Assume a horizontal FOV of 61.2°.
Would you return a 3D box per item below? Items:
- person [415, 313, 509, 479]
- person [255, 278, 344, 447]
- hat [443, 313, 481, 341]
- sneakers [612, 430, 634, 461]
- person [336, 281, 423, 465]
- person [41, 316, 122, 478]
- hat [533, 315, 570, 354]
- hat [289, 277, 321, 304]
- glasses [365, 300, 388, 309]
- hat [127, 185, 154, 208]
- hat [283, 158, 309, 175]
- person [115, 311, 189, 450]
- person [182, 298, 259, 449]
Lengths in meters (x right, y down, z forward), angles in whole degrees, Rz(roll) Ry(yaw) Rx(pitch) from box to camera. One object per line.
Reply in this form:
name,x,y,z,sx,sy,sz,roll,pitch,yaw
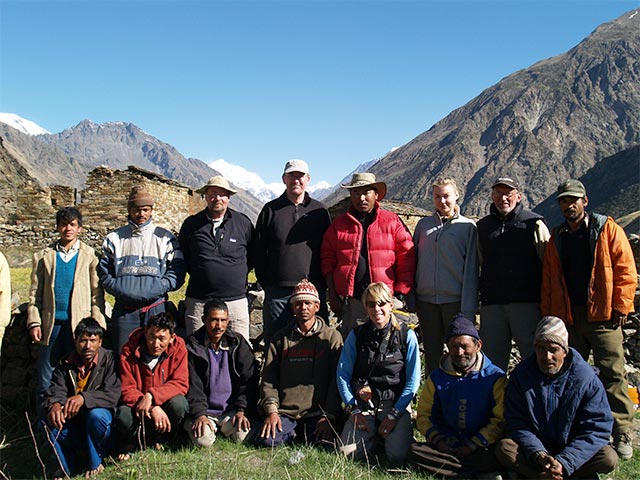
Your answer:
person,1.633,1.793,6.317,1.041,1.807,0.418,-1,-6,18
person,-0.252,1.567,7.014,1.088,2.072,0.490,1,-6,0
hat,1.687,1.045,6.428,0.292,0.293,0.374,-3,-18,9
sneakers,3.757,2.560,6.686,0.193,0.499,0.222,-12,-24,37
person,0.728,1.631,6.762,1.020,2.167,0.422,1,-6,1
person,-2.906,1.902,6.619,0.843,1.843,0.465,0,-6,3
hat,2.517,1.067,6.115,0.328,0.337,0.368,17,8,22
hat,-0.192,0.671,7.100,0.265,0.268,0.356,1,-24,2
glasses,0.699,0.800,6.743,0.266,0.095,0.098,0,-6,6
hat,-2.514,-0.649,7.575,0.379,0.306,0.384,1,-3,-14
hat,-0.337,-1.037,7.665,0.313,0.188,0.245,1,-6,-6
person,-2.074,1.807,6.764,0.855,1.731,0.456,3,-6,-20
person,-1.268,1.701,6.988,0.908,1.812,0.428,2,-6,-12
